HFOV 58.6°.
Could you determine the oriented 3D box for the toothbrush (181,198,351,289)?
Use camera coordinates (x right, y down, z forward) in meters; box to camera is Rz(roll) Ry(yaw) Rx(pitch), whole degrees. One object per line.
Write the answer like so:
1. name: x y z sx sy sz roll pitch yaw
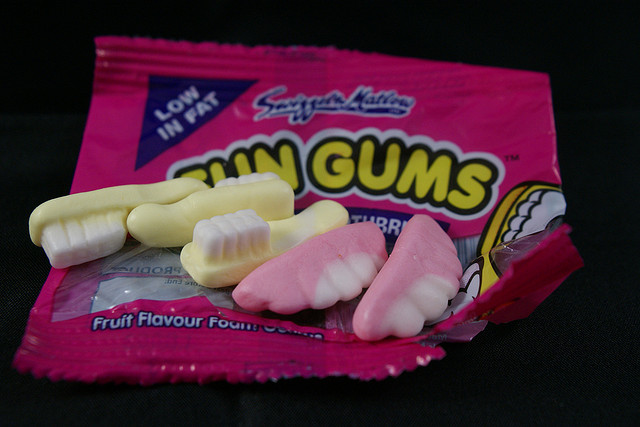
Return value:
1. toothbrush: -0.113 0.038 1.305 0.409 0.145 0.136 -22 39 -30
